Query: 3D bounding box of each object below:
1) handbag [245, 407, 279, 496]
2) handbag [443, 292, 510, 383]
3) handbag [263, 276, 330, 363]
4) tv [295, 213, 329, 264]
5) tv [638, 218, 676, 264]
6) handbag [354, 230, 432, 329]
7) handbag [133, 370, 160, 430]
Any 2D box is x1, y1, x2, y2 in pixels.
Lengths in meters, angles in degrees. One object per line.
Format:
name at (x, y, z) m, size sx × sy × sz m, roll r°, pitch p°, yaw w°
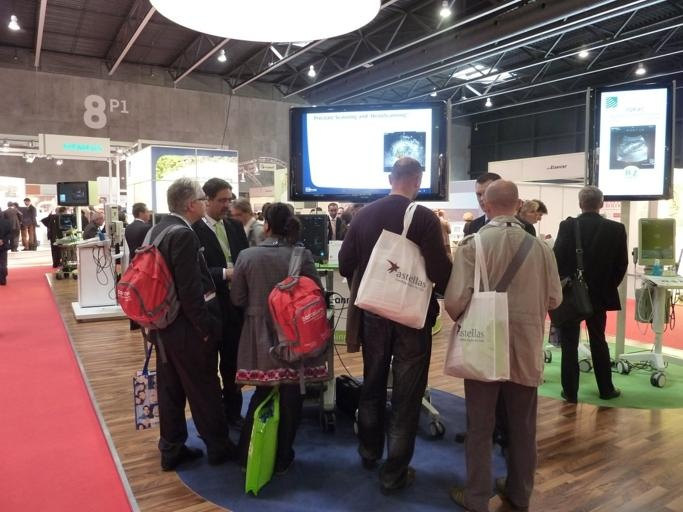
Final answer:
handbag at (-0.492, 1.255, 3.416) m, size 0.126 × 0.533 × 0.374 m, roll 5°, pitch -14°, yaw 15°
handbag at (0.783, 0.450, 3.099) m, size 0.355 × 0.515 × 0.190 m, roll 2°, pitch 8°, yaw 15°
handbag at (-0.252, 0.400, 3.493) m, size 0.288 × 0.555 × 0.434 m, roll 14°, pitch 35°, yaw 40°
tv at (-0.222, -0.158, 4.485) m, size 0.240 × 0.412 × 0.211 m, roll 0°, pitch 8°, yaw -3°
tv at (3.249, -0.166, 5.541) m, size 0.383 × 0.623 × 0.312 m, roll 2°, pitch -3°, yaw 13°
handbag at (0.333, 0.128, 3.244) m, size 0.405 × 0.592 × 0.175 m, roll 18°, pitch -9°, yaw -10°
handbag at (-1.323, 1.005, 3.704) m, size 0.223 × 0.430 × 0.127 m, roll 2°, pitch 8°, yaw 12°
